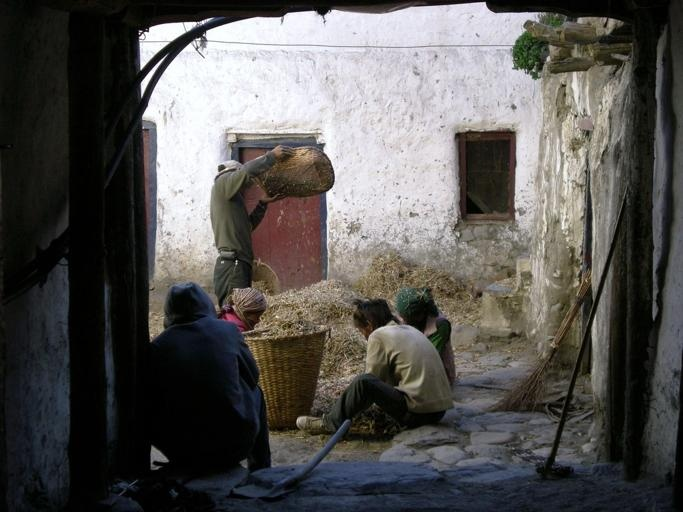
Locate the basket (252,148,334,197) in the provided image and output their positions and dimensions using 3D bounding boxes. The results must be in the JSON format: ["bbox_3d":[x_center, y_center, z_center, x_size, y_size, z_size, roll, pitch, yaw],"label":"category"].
[{"bbox_3d":[-0.382,-0.695,9.141,0.547,0.203,0.428,-20,-36,26],"label":"basket"}]

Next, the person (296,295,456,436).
[{"bbox_3d":[0.234,0.769,7.649,0.966,1.036,0.688,-3,-1,22],"label":"person"}]

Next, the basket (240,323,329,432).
[{"bbox_3d":[-0.372,0.872,7.633,0.595,0.679,0.603,-2,-1,20],"label":"basket"}]

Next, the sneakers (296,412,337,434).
[{"bbox_3d":[-0.184,1.181,7.642,0.330,0.165,0.119,3,-2,26],"label":"sneakers"}]

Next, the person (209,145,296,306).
[{"bbox_3d":[-0.847,-0.329,9.988,0.667,1.951,1.032,0,-23,-12],"label":"person"}]

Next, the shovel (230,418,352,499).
[{"bbox_3d":[-0.299,1.259,6.264,0.269,0.202,1.049,2,15,25],"label":"shovel"}]
